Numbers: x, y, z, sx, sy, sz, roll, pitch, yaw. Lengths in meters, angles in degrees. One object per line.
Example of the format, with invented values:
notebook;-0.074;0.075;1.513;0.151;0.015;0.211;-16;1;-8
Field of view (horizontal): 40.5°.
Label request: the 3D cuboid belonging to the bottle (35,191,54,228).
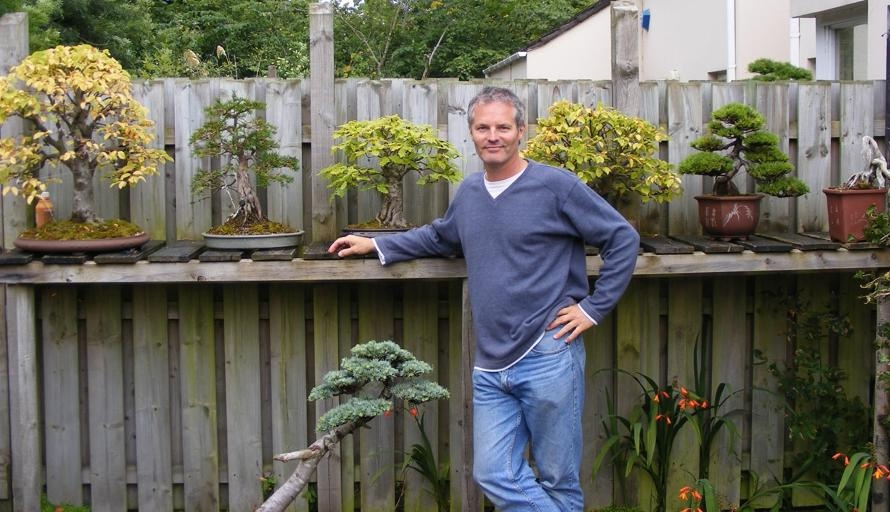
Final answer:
bottle;-3.531;-0.412;10.591;0.148;0.236;0.326;-3;2;-18
